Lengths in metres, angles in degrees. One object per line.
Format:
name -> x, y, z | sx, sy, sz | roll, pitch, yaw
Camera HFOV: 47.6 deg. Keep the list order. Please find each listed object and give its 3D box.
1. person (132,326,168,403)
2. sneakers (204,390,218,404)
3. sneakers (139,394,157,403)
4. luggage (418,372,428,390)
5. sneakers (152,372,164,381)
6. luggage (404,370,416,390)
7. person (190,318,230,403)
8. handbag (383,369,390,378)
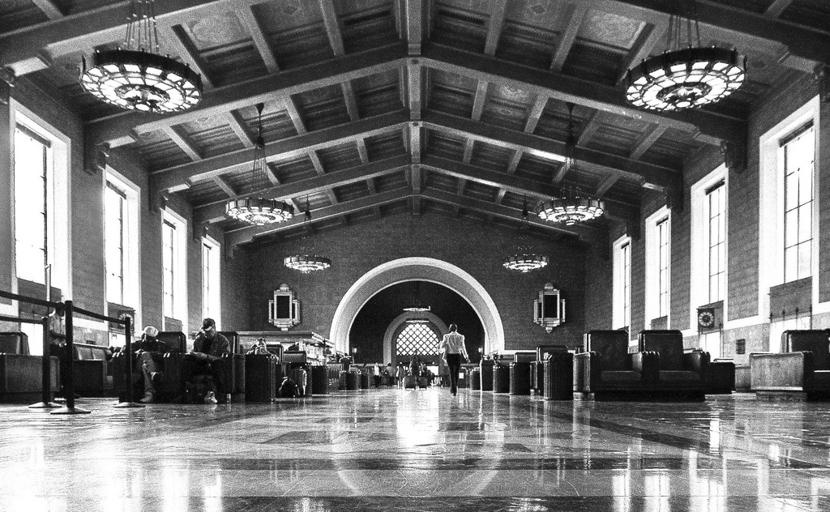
person -> -5.483, 2.253, 19.423 | 0.692, 1.648, 0.620 | 1, -14, -10
sneakers -> -4.141, 2.888, 19.004 | 0.149, 0.164, 0.376 | 1, -8, -1
sneakers -> -5.455, 2.928, 19.201 | 0.381, 0.274, 0.127 | 7, -10, -20
luggage -> 0.205, 4.790, 35.524 | 0.463, 0.632, 0.459 | -4, -8, 35
sneakers -> -5.274, 2.478, 19.252 | 0.237, 0.166, 0.078 | 10, -18, -37
luggage -> -0.285, 4.716, 34.821 | 0.432, 0.592, 0.530 | 1, 2, 5
person -> -4.198, 2.153, 19.230 | 0.818, 1.616, 0.445 | -1, -14, 0
handbag -> -1.275, 5.261, 41.310 | 0.282, 0.410, 0.210 | 1, 0, -4
